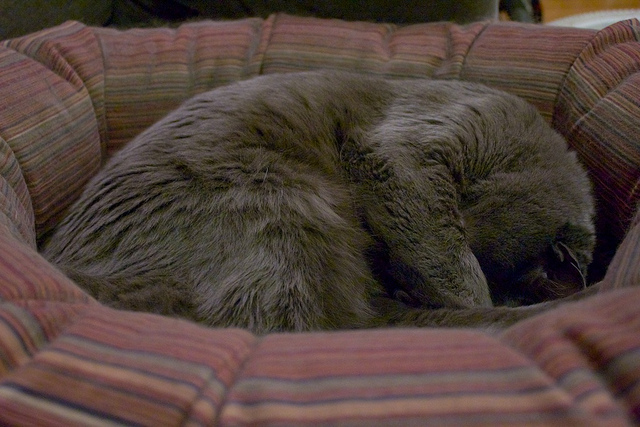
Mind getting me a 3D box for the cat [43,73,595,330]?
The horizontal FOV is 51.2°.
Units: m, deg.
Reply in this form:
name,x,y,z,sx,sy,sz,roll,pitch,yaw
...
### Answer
name,x,y,z,sx,sy,sz,roll,pitch,yaw
cat,0.045,-0.060,1.679,1.175,0.505,0.654,-5,36,-12
